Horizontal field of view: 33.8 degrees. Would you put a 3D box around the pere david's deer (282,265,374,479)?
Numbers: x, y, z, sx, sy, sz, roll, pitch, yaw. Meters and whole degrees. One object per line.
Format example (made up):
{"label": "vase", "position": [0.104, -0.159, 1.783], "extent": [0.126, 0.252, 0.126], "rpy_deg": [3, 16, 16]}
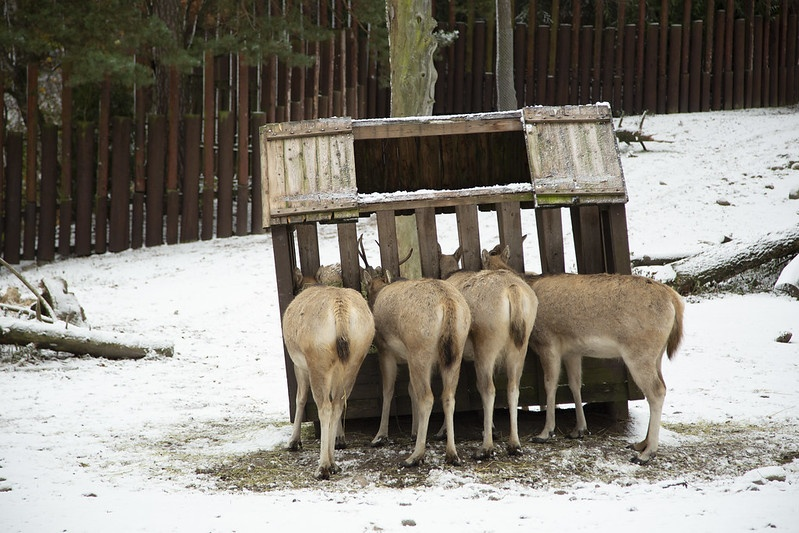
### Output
{"label": "pere david's deer", "position": [-1.116, 1.809, 20.994], "extent": [1.460, 2.847, 1.137], "rpy_deg": [-3, 7, 7]}

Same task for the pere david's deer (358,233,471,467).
{"label": "pere david's deer", "position": [0.239, 1.620, 21.245], "extent": [1.763, 2.934, 1.078], "rpy_deg": [2, 9, 35]}
